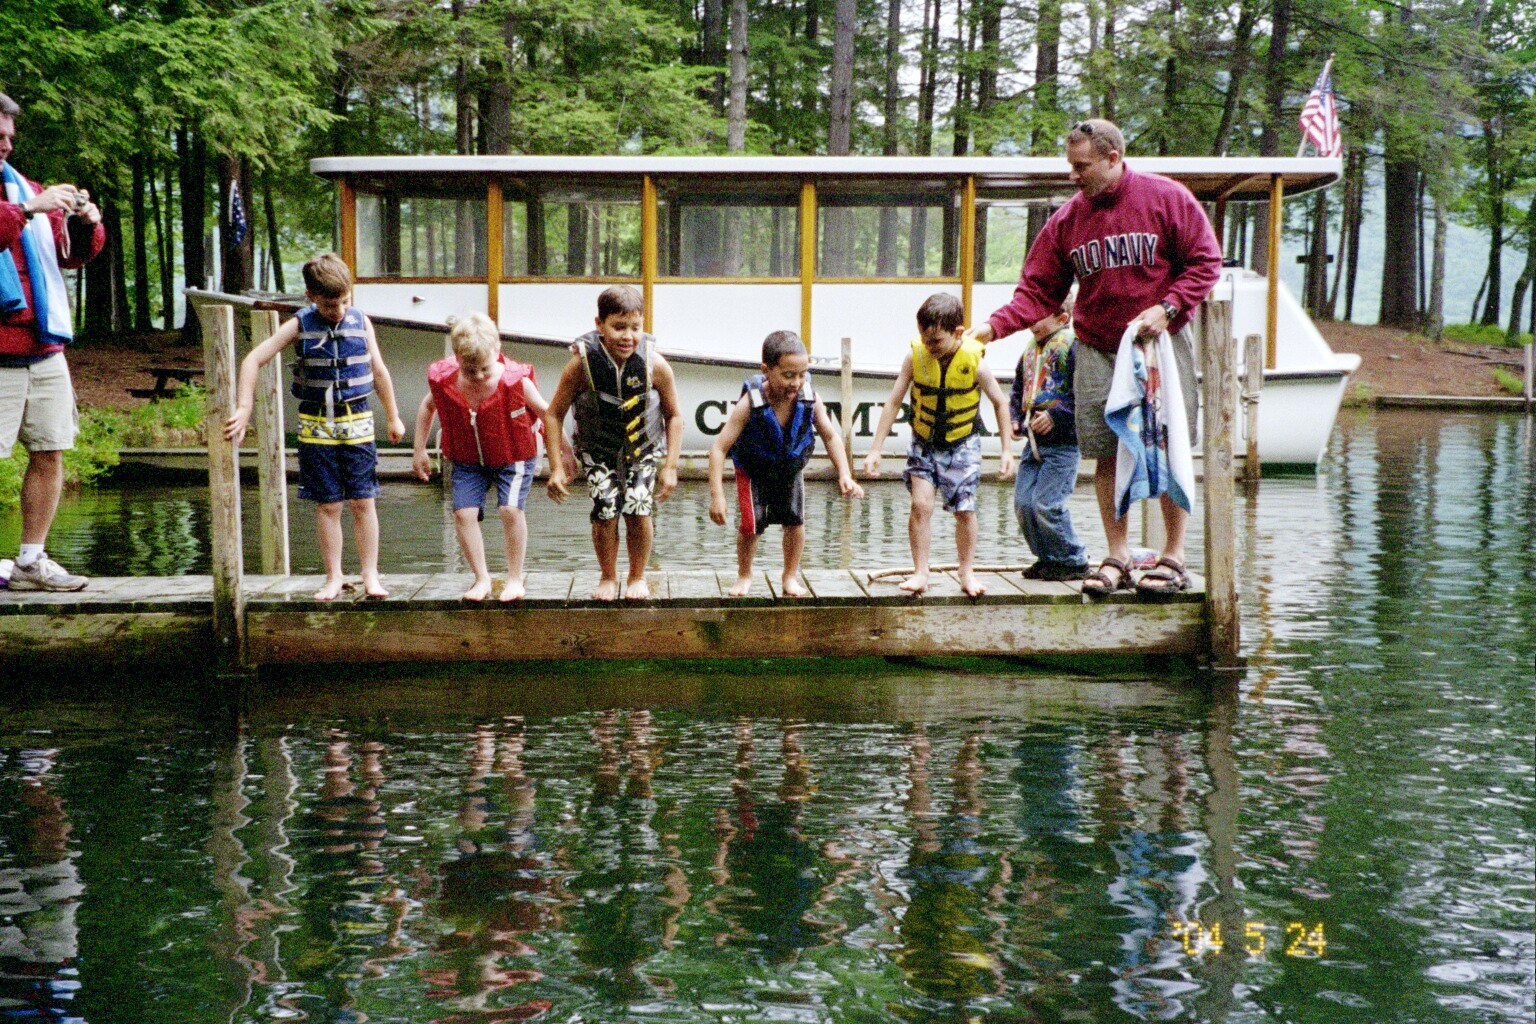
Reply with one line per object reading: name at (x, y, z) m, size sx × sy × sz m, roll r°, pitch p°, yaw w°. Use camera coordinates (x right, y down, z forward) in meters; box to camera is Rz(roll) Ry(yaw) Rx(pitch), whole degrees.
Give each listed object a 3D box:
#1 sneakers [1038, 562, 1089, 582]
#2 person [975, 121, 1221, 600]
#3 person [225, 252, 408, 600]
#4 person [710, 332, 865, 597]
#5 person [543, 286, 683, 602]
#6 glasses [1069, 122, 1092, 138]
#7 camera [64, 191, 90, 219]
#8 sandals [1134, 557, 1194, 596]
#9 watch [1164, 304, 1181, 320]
sneakers at (1.831, 0.377, 13.195) m, size 0.245 × 0.081 × 0.108 m, roll -2°, pitch 2°, yaw 1°
person at (2.028, -0.892, 12.626) m, size 1.268 × 2.801 × 0.509 m, roll 0°, pitch 4°, yaw 9°
person at (-2.724, -0.503, 12.768) m, size 1.009 × 2.074 × 0.812 m, roll -2°, pitch 4°, yaw -11°
person at (0.084, -0.294, 12.933) m, size 0.860 × 1.621 × 1.325 m, roll -1°, pitch 4°, yaw -1°
person at (-0.922, -0.405, 12.612) m, size 0.765 × 1.889 × 0.720 m, roll -1°, pitch 4°, yaw -3°
glasses at (1.820, -2.252, 12.424) m, size 0.110 × 0.044 × 0.123 m, roll 0°, pitch 0°, yaw -2°
camera at (-3.991, -1.799, 12.360) m, size 0.132 × 0.140 × 0.058 m, roll 2°, pitch 0°, yaw -9°
sandals at (2.385, 0.396, 12.892) m, size 0.266 × 0.159 × 0.606 m, roll -2°, pitch -2°, yaw 15°
watch at (2.348, -1.175, 12.350) m, size 0.103 × 0.052 × 0.103 m, roll 9°, pitch -2°, yaw 4°
